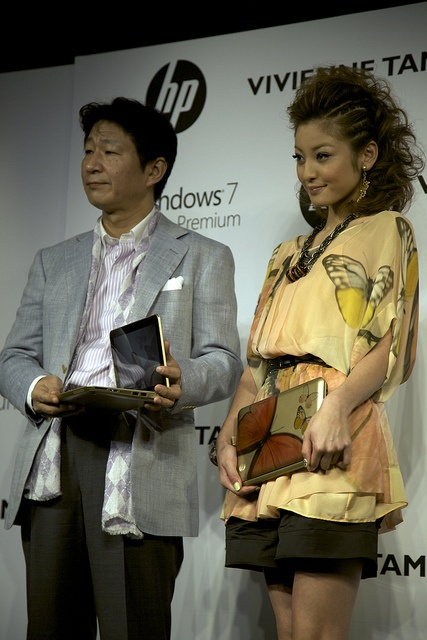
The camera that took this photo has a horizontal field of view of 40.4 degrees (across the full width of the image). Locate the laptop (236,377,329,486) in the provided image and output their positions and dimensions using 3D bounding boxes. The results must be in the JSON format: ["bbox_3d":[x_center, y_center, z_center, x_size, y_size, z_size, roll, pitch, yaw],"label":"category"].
[{"bbox_3d":[0.135,0.222,1.117,0.025,0.125,0.221,14,-26,-27],"label":"laptop"}]
